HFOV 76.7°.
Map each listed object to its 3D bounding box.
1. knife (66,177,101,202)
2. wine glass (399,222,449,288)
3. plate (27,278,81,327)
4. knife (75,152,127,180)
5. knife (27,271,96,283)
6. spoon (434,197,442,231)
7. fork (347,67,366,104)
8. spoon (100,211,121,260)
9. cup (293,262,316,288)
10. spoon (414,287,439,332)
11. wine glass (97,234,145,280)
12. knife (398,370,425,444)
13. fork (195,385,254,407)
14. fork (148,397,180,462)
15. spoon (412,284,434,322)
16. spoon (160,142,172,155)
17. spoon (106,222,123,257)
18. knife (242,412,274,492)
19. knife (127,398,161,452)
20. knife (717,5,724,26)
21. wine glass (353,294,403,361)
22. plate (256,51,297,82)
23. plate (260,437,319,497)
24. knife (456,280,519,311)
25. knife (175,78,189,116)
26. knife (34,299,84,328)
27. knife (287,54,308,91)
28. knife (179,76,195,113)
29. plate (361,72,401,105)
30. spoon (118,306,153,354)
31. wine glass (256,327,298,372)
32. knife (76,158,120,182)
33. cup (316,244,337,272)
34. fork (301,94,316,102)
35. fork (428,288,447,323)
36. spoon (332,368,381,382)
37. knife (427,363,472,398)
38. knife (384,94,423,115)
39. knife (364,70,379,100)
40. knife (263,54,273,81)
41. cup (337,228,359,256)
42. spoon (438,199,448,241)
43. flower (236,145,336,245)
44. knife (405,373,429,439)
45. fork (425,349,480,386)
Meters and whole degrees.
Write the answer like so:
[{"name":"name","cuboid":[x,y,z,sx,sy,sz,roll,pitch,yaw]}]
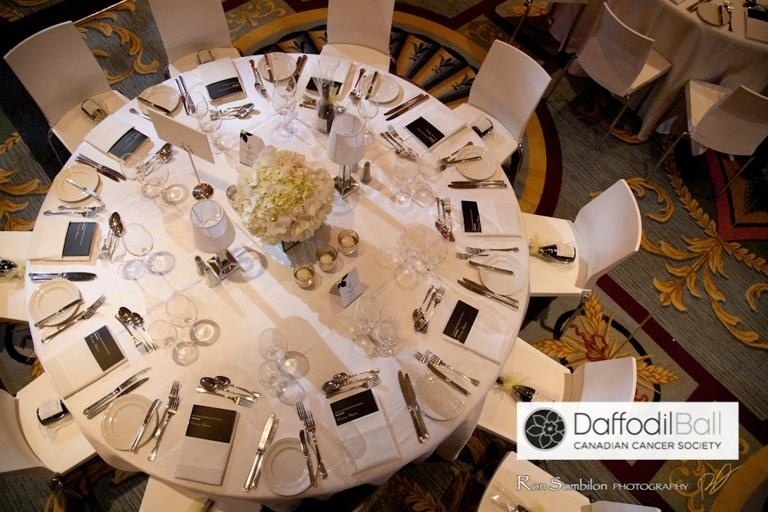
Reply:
[{"name":"knife","cuboid":[-2.035,-0.442,3.284,0.219,0.026,0.044,40,66,11]},{"name":"wine glass","cuboid":[0.250,-0.020,3.232,0.273,0.157,0.416,-3,68,-12]},{"name":"plate","cuboid":[-2.045,0.293,3.015,0.261,0.040,0.291,-1,83,-4]},{"name":"knife","cuboid":[-1.954,-0.616,3.366,0.293,0.024,0.070,35,74,5]},{"name":"knife","cuboid":[-2.042,0.136,3.081,0.374,0.043,0.084,0,69,-8]},{"name":"spoon","cuboid":[0.380,-0.291,3.349,0.044,0.086,0.159,2,87,12]},{"name":"fork","cuboid":[-0.199,-1.303,3.728,0.075,0.052,0.372,9,69,-2]},{"name":"spoon","cuboid":[-1.777,-0.123,3.209,0.077,0.060,0.363,2,71,0]},{"name":"cup","cuboid":[-0.509,0.127,3.151,0.132,0.092,0.136,1,72,-3]},{"name":"spoon","cuboid":[0.277,0.337,3.101,0.119,0.039,0.276,28,63,-5]},{"name":"wine glass","cuboid":[-1.689,0.053,3.167,0.344,0.118,0.175,41,62,2]},{"name":"knife","cuboid":[0.173,0.884,2.905,0.100,0.037,0.448,-19,66,-3]},{"name":"fork","cuboid":[-0.953,0.837,2.883,0.303,0.032,0.049,17,86,-6]},{"name":"fork","cuboid":[-1.266,0.988,2.871,0.072,0.063,0.465,28,68,-27]},{"name":"spoon","cuboid":[0.258,0.296,3.116,0.077,0.042,0.257,17,73,17]},{"name":"spoon","cuboid":[-1.536,-0.753,3.426,0.058,0.026,0.089,12,75,-7]},{"name":"spoon","cuboid":[-1.753,-0.105,3.209,0.068,0.073,0.253,6,80,0]},{"name":"knife","cuboid":[-0.706,1.136,2.796,0.098,0.036,0.455,11,74,14]},{"name":"knife","cuboid":[-1.376,0.973,2.812,0.076,0.040,0.346,29,65,-27]},{"name":"knife","cuboid":[2.989,-2.129,4.312,0.031,0.026,0.220,4,65,8]},{"name":"wine glass","cuboid":[-0.040,0.457,3.033,0.240,0.137,0.363,-15,79,-29]},{"name":"plate","cuboid":[-0.825,-1.480,3.780,0.290,0.049,0.290,44,68,12]},{"name":"plate","cuboid":[-0.538,1.199,2.762,0.283,0.055,0.311,-9,82,-4]},{"name":"knife","cuboid":[0.677,0.265,3.154,0.386,0.029,0.075,24,80,6]},{"name":"knife","cuboid":[-1.507,-1.218,3.633,0.091,0.045,0.416,-14,59,-11]},{"name":"knife","cuboid":[-2.013,0.359,2.999,0.263,0.028,0.039,-33,85,-9]},{"name":"knife","cuboid":[-0.658,-1.412,3.709,0.080,0.040,0.359,17,61,-6]},{"name":"knife","cuboid":[-1.480,-1.207,3.671,0.093,0.038,0.435,-16,61,-14]},{"name":"plate","cuboid":[-0.013,-1.290,3.739,0.254,0.036,0.274,-9,69,-13]},{"name":"spoon","cuboid":[-1.548,0.436,3.046,0.125,0.062,0.398,-27,78,-15]},{"name":"wine glass","cuboid":[-0.664,0.606,3.019,0.156,0.132,0.295,-24,67,-8]},{"name":"knife","cuboid":[-1.978,-0.588,3.355,0.276,0.023,0.060,30,71,6]},{"name":"cup","cuboid":[-0.374,0.015,3.173,0.121,0.115,0.153,4,67,-1]},{"name":"fork","cuboid":[-0.561,-1.195,3.672,0.090,0.034,0.055,4,88,2]},{"name":"fork","cuboid":[0.349,0.295,3.143,0.055,0.037,0.343,17,81,10]},{"name":"spoon","cuboid":[-0.155,0.723,2.997,0.311,0.058,0.104,-9,80,-4]},{"name":"knife","cuboid":[0.393,0.764,2.952,0.247,0.029,0.045,41,75,8]},{"name":"knife","cuboid":[0.146,-1.144,3.690,0.251,0.026,0.051,-36,71,-17]},{"name":"knife","cuboid":[-0.086,-1.306,3.730,0.063,0.022,0.280,7,66,0]},{"name":"knife","cuboid":[-0.883,-1.445,3.762,0.052,0.029,0.268,-2,75,-11]},{"name":"cup","cuboid":[-0.232,-0.092,3.215,0.127,0.118,0.168,3,63,0]},{"name":"spoon","cuboid":[0.406,-0.260,3.344,0.059,0.034,0.244,-1,70,-11]},{"name":"flower","cuboid":[-0.617,-0.376,3.004,0.556,0.165,0.592,44,82,4]},{"name":"knife","cuboid":[0.191,0.901,2.906,0.072,0.055,0.397,-15,65,-2]},{"name":"fork","cuboid":[0.418,0.694,2.983,0.296,0.042,0.045,34,76,6]}]
